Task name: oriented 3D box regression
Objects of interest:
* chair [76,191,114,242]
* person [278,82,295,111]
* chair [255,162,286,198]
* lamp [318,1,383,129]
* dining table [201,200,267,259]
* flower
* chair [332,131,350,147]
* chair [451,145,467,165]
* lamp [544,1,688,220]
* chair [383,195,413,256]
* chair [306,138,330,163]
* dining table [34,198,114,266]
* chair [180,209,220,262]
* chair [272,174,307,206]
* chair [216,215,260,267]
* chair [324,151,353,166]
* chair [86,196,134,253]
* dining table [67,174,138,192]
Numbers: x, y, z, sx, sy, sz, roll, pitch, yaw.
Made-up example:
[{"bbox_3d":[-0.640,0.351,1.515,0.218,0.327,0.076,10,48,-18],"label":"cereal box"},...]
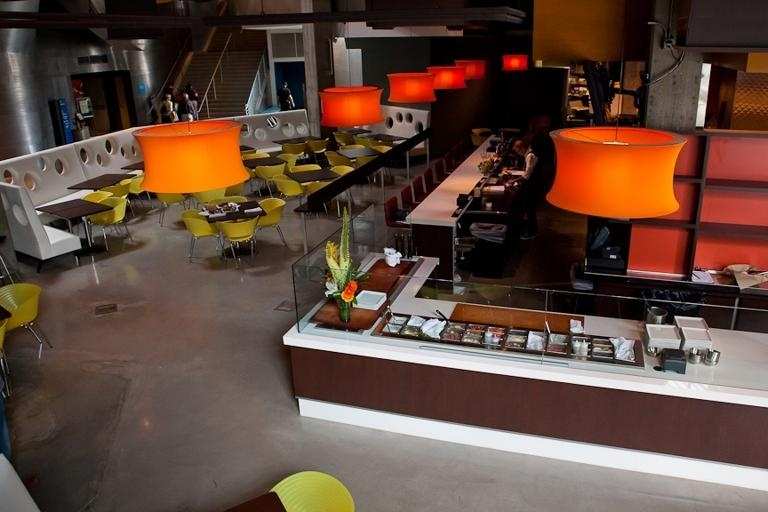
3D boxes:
[{"bbox_3d":[-5.971,-0.806,10.336,0.835,0.387,0.974,-20,43,-36],"label":"chair"},{"bbox_3d":[-3.373,-5.451,17.110,0.496,0.847,1.986,-5,22,-10],"label":"person"},{"bbox_3d":[-2.853,-1.907,12.542,0.612,0.714,0.496,-15,46,-20],"label":"chair"},{"bbox_3d":[-0.475,-2.610,6.919,0.923,1.530,0.930,-11,18,-28],"label":"lamp"},{"bbox_3d":[-2.838,-0.656,9.613,1.240,1.094,1.188,-9,27,-15],"label":"dining table"},{"bbox_3d":[-0.448,0.022,5.553,0.456,0.955,0.784,-2,22,-5],"label":"flower"},{"bbox_3d":[-1.193,-3.387,14.630,0.534,0.397,0.942,-5,22,-12],"label":"chair"},{"bbox_3d":[1.869,-2.509,12.438,0.268,0.360,0.912,5,23,17],"label":"chair"},{"bbox_3d":[1.756,-0.832,3.741,0.873,0.880,0.878,-25,30,-37],"label":"lamp"},{"bbox_3d":[0.219,-0.486,8.268,0.553,0.927,0.974,2,23,10],"label":"chair"},{"bbox_3d":[-1.876,-2.943,13.982,0.725,0.844,0.613,-7,42,-7],"label":"chair"},{"bbox_3d":[-6.149,-0.470,9.860,0.712,0.793,1.161,-22,34,-40],"label":"dining table"},{"bbox_3d":[-3.604,-0.380,9.837,0.652,0.849,0.723,-13,33,-19],"label":"chair"},{"bbox_3d":[-2.057,-1.518,11.657,0.788,0.646,0.705,-20,35,-30],"label":"chair"},{"bbox_3d":[-2.812,-0.387,9.668,0.786,0.899,1.170,-8,23,-18],"label":"chair"},{"bbox_3d":[-1.195,-2.446,12.745,0.337,0.332,0.721,-13,25,-29],"label":"chair"},{"bbox_3d":[-5.796,-0.631,10.476,0.934,1.069,0.774,21,23,35],"label":"chair"},{"bbox_3d":[-6.222,-1.640,10.999,0.655,0.226,0.970,8,24,16],"label":"dining table"}]
